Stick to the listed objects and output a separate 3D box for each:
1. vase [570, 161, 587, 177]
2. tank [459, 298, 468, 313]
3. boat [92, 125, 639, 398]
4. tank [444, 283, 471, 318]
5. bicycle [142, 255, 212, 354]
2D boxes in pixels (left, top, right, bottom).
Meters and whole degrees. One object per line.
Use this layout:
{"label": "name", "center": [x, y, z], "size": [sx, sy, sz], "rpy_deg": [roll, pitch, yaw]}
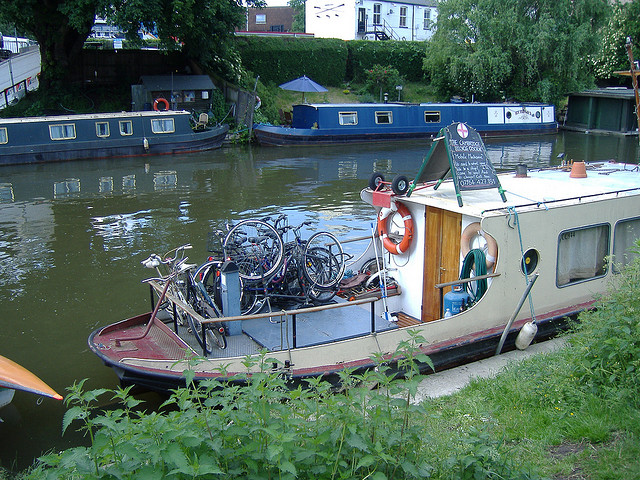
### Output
{"label": "vase", "center": [5.168, -1.399, 11.635], "size": [0.278, 0.257, 0.285], "rpy_deg": [12, 19, 41]}
{"label": "tank", "center": [2.289, 1.039, 9.307], "size": [0.177, 0.200, 0.074], "rpy_deg": [-11, 14, -36]}
{"label": "boat", "center": [1.725, 0.005, 9.637], "size": [9.257, 3.667, 4.481], "rpy_deg": [-11, 14, -34]}
{"label": "tank", "center": [2.187, 0.976, 9.294], "size": [0.350, 0.678, 0.374], "rpy_deg": [12, 20, 11]}
{"label": "bicycle", "center": [-2.176, 1.067, 9.020], "size": [0.863, 1.690, 0.930], "rpy_deg": [-5, 16, -39]}
